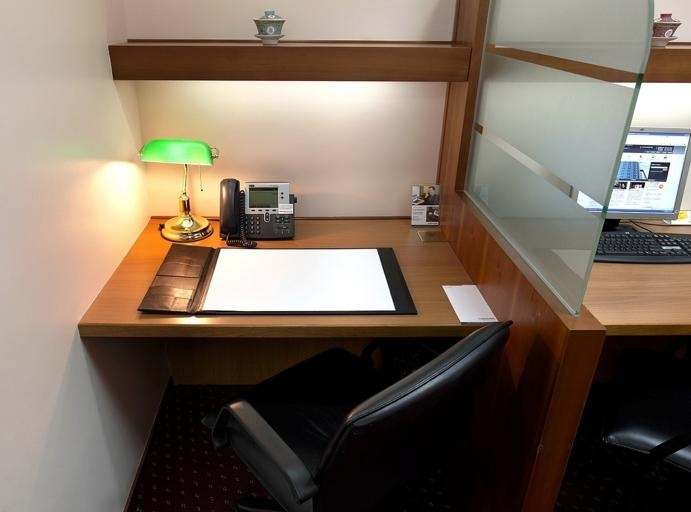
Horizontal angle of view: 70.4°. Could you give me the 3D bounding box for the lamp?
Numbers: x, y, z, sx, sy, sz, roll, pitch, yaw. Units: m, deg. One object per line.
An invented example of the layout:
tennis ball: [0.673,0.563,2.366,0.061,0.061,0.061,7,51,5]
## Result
lamp: [-0.760,-0.327,2.320,0.332,0.455,0.315,2,21,-3]

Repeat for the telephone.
telephone: [-0.418,-0.216,2.336,0.331,0.304,0.232,-2,10,-11]

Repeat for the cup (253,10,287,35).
cup: [-0.332,-0.994,2.090,0.111,0.097,0.138,-6,25,-14]
